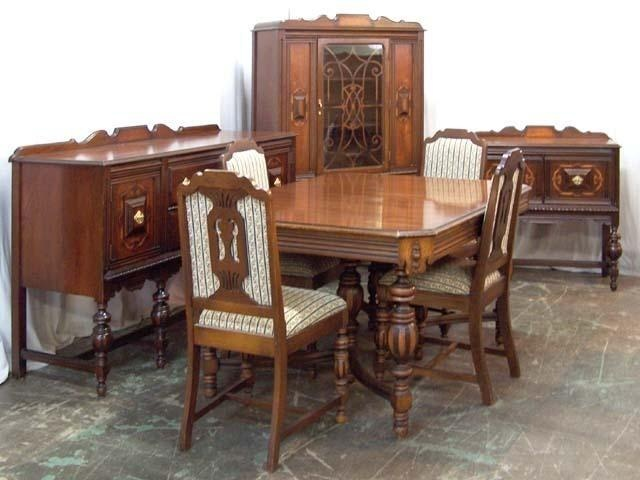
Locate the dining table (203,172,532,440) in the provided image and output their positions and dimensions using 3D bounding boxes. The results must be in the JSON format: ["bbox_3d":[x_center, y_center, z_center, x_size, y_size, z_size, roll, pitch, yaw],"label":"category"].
[{"bbox_3d":[0.019,0.448,3.067,1.483,0.794,1.108,3,-11,28],"label":"dining table"}]

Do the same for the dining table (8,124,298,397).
[{"bbox_3d":[-1.076,0.002,3.838,0.639,1.434,1.962,5,9,16],"label":"dining table"}]

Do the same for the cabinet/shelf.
[{"bbox_3d":[0.113,-1.186,4.472,1.290,1.457,0.562,-3,6,-23],"label":"cabinet/shelf"}]

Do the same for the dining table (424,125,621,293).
[{"bbox_3d":[1.492,-0.253,3.914,1.272,1.147,0.522,1,9,10],"label":"dining table"}]

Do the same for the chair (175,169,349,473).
[{"bbox_3d":[-0.252,0.305,2.374,0.716,1.227,0.505,1,12,7],"label":"chair"}]
